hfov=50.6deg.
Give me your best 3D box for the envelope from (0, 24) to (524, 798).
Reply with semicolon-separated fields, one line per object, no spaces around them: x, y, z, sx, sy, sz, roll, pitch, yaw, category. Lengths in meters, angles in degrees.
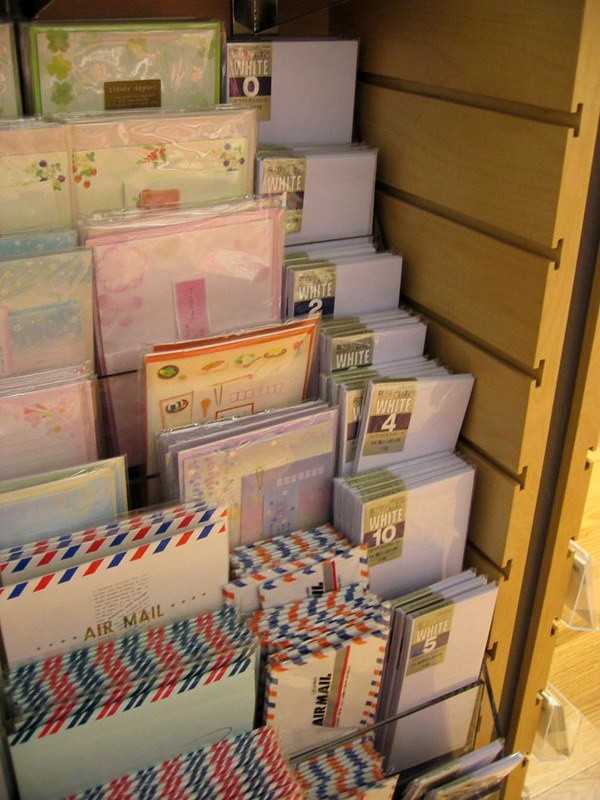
0.001;-0.021;1.419;0.895;1.205;0.371;-1;2;-25;envelope
